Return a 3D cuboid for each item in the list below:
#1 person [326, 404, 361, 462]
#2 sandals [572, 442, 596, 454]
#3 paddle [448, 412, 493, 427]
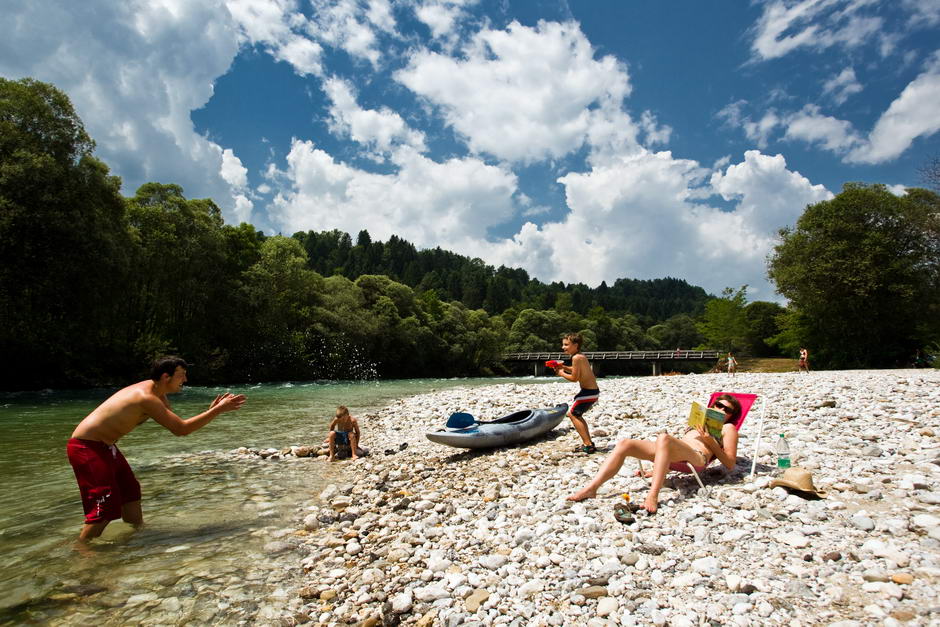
[{"bbox_3d":[-3.697,3.476,16.086,0.911,1.591,0.631,-6,1,-17],"label":"person"},{"bbox_3d":[2.778,3.353,13.697,0.545,0.248,0.211,3,0,18],"label":"sandals"},{"bbox_3d":[-0.217,2.943,15.152,0.762,0.287,0.543,6,-11,-9],"label":"paddle"}]
